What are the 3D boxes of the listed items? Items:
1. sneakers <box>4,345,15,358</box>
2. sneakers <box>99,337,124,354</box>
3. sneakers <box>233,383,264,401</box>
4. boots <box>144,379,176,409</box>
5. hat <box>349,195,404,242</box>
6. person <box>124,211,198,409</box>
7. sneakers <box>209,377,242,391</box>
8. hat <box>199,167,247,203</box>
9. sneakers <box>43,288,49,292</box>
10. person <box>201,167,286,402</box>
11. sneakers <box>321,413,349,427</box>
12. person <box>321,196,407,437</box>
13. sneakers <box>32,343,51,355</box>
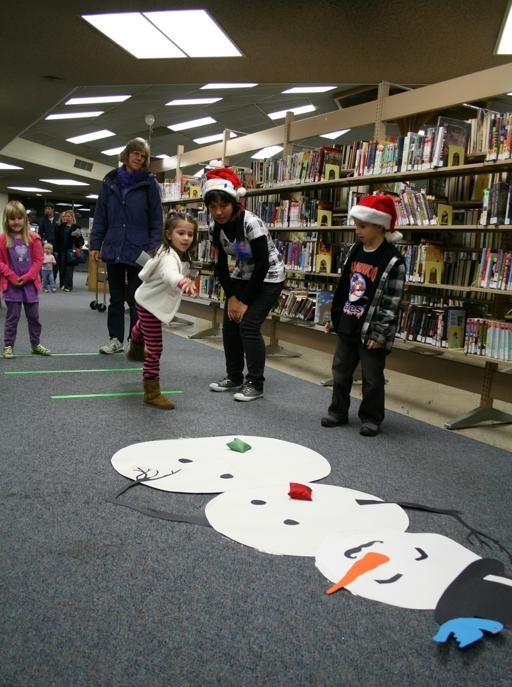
[{"bbox_3d":[-1.817,0.068,3.568,0.051,0.061,0.135,3,3,-35],"label":"sneakers"},{"bbox_3d":[-1.161,0.028,3.965,0.093,0.100,0.217,-3,-2,40],"label":"sneakers"},{"bbox_3d":[-0.043,0.295,2.905,0.105,0.082,0.224,7,6,22],"label":"sneakers"},{"bbox_3d":[-0.474,0.274,2.570,0.216,0.196,0.097,2,7,0],"label":"boots"},{"bbox_3d":[0.580,-0.613,2.432,0.279,0.229,0.219,6,9,27],"label":"hat"},{"bbox_3d":[-0.537,-0.207,2.716,0.302,1.056,1.260,3,6,-15],"label":"person"},{"bbox_3d":[-0.204,0.268,3.127,0.213,0.089,0.075,5,-7,-31],"label":"sneakers"},{"bbox_3d":[-0.199,-0.890,2.772,0.277,0.216,0.200,3,6,-8],"label":"hat"},{"bbox_3d":[-4.102,-1.013,9.528,0.097,0.067,0.123,5,-7,-20],"label":"sneakers"},{"bbox_3d":[-0.096,-0.365,2.933,0.513,1.377,0.508,5,6,0],"label":"person"},{"bbox_3d":[0.403,0.408,2.544,0.055,0.067,0.165,-1,-7,44],"label":"sneakers"},{"bbox_3d":[0.544,-0.157,2.495,0.329,1.191,0.368,6,6,7],"label":"person"},{"bbox_3d":[-1.658,0.049,3.787,0.186,0.080,0.065,8,9,14],"label":"sneakers"}]
